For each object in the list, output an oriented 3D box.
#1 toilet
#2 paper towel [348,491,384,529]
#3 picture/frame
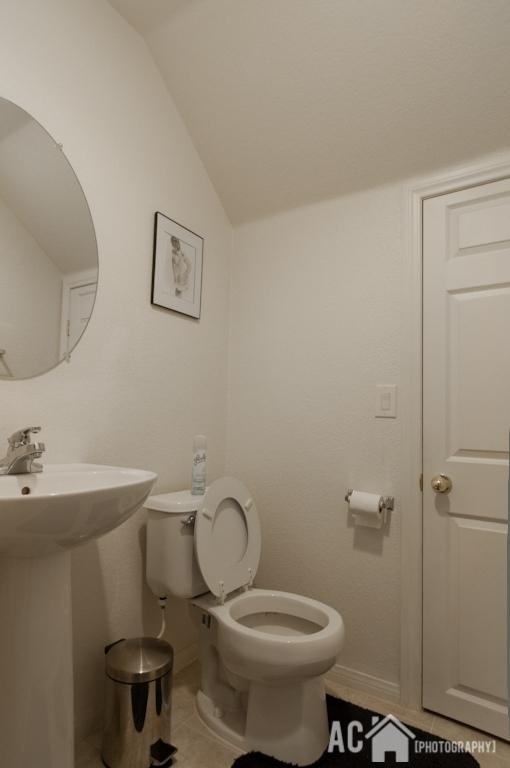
[{"bbox_3d":[0.066,0.705,2.018,0.699,1.069,0.465,-1,-1,34],"label":"toilet"},{"bbox_3d":[0.371,0.397,1.968,0.131,0.173,0.095,-2,-3,37],"label":"paper towel"},{"bbox_3d":[-0.295,-0.432,2.095,0.011,0.455,0.373,2,0,20],"label":"picture/frame"}]
